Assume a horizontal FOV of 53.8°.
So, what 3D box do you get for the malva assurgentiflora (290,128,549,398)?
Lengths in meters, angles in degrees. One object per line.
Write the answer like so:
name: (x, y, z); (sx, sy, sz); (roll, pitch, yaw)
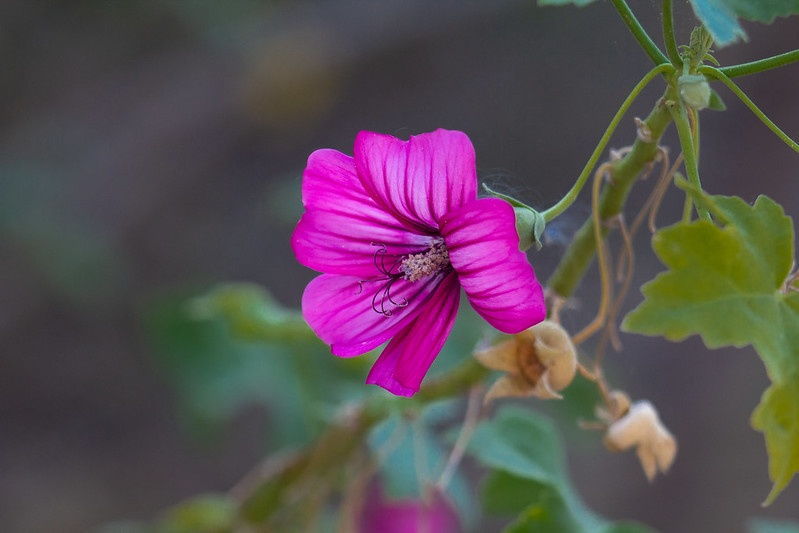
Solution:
malva assurgentiflora: (0.034, -0.020, 0.920); (0.280, 0.102, 0.304); (11, -7, 23)
